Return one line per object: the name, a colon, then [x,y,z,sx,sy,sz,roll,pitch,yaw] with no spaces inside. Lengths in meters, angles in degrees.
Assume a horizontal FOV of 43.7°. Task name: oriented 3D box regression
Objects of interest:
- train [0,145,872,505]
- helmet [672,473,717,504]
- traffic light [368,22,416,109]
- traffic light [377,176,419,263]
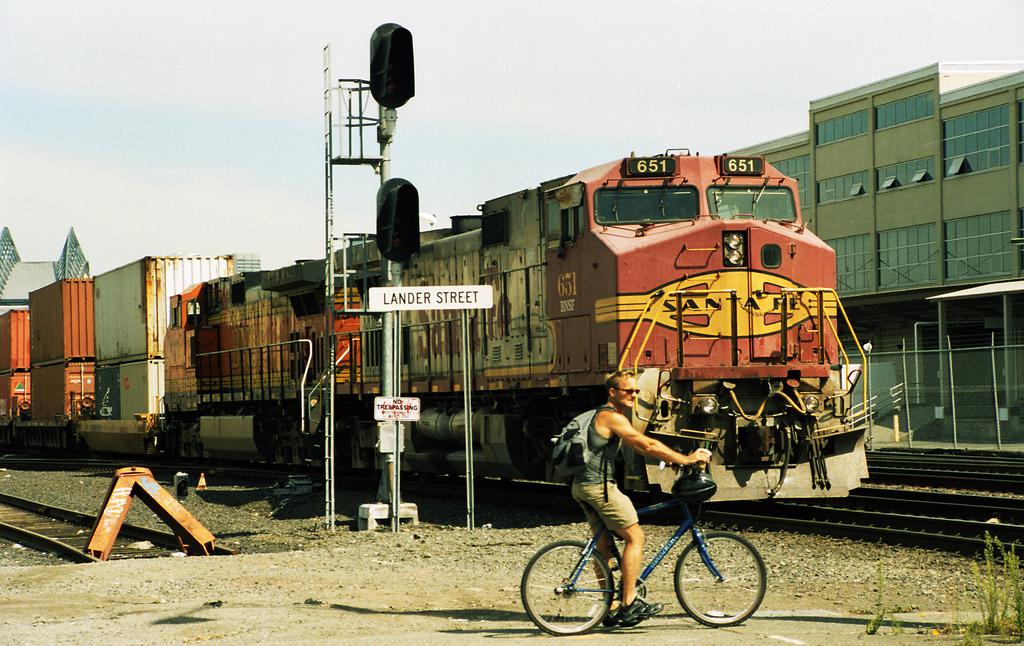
train: [-3.183,0.631,35.377,6.752,7.129,29.489,3,-2,-40]
helmet: [2.658,2.434,18.716,0.513,0.458,0.237,-7,-30,8]
traffic light: [-2.239,-4.682,23.460,0.780,1.552,0.643,-1,-5,-8]
traffic light: [-2.131,-1.899,23.332,0.813,1.551,0.406,-3,-5,12]
